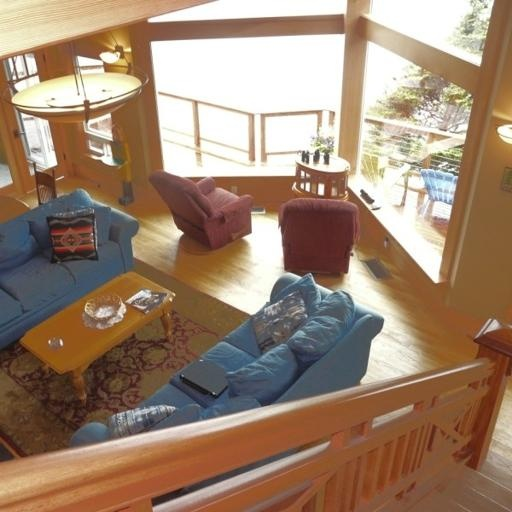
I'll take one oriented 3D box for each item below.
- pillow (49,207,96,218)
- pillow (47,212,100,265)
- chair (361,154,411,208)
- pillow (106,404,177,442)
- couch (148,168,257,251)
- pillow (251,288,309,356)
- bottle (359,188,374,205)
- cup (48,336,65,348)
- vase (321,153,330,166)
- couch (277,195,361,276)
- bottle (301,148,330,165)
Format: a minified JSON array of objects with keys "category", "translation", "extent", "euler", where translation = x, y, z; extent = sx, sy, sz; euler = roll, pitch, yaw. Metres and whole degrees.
[{"category":"pillow","translation":[-2.319,-0.534,5.421],"extent":[0.288,0.065,0.276],"euler":[-16,30,-34]},{"category":"pillow","translation":[-2.255,-0.203,5.302],"extent":[0.729,0.633,0.243],"euler":[-7,-3,-1]},{"category":"chair","translation":[1.977,-1.102,6.438],"extent":[0.647,0.747,0.602],"euler":[-21,49,-24]},{"category":"pillow","translation":[-0.809,1.178,3.041],"extent":[0.452,0.225,0.284],"euler":[5,-9,-11]},{"category":"couch","translation":[-0.808,-0.832,6.664],"extent":[1.221,1.172,1.385],"euler":[27,40,36]},{"category":"pillow","translation":[0.222,0.634,4.140],"extent":[0.187,0.590,0.531],"euler":[39,27,-42]},{"category":"bottle","translation":[1.749,-0.935,6.812],"extent":[0.104,0.114,0.317],"euler":[-20,52,-25]},{"category":"cup","translation":[-1.964,0.859,4.251],"extent":[0.151,0.104,0.135],"euler":[3,-9,10]},{"category":"vase","translation":[1.103,-1.506,6.728],"extent":[0.105,0.214,0.140],"euler":[4,-9,8]},{"category":"couch","translation":[0.827,-0.372,6.137],"extent":[1.402,1.309,0.994],"euler":[1,33,3]},{"category":"bottle","translation":[0.953,-1.559,6.802],"extent":[0.404,0.154,0.361],"euler":[3,29,7]}]
